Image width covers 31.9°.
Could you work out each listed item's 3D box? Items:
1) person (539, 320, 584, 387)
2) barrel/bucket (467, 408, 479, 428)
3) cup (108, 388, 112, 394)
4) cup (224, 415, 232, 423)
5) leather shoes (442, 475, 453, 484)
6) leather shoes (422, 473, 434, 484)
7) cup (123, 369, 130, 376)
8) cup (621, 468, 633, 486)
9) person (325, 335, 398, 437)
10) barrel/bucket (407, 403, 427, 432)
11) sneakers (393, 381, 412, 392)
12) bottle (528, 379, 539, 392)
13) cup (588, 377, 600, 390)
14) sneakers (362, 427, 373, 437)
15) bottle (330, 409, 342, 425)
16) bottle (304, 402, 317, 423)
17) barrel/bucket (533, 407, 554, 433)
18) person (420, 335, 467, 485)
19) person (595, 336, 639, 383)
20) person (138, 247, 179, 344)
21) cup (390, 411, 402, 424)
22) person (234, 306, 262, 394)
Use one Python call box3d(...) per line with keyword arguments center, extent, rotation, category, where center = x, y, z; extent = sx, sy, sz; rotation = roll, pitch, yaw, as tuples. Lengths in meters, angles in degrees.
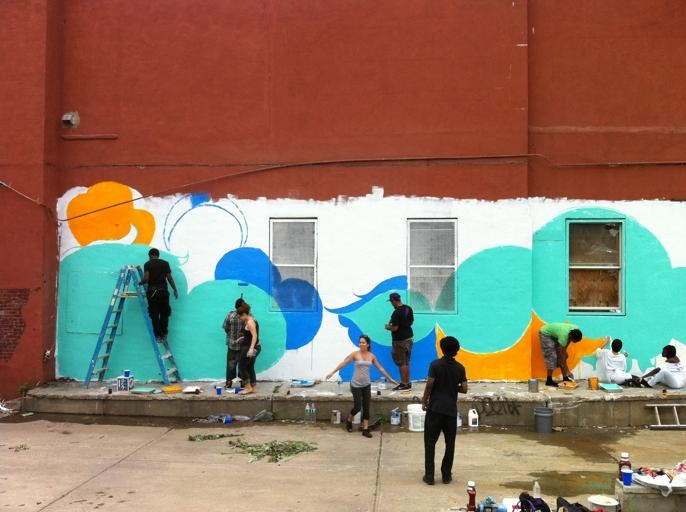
box3d(center=(4.695, 2.095, 25.690), extent=(0.915, 1.380, 0.504), rotation=(-7, -12, 38), category="person")
box3d(center=(2.694, 3.340, 24.759), extent=(0.333, 0.504, 0.308), rotation=(-1, 2, 0), category="barrel/bucket")
box3d(center=(-4.963, 2.860, 25.463), extent=(0.124, 0.109, 0.063), rotation=(-1, -4, 6), category="cup")
box3d(center=(-2.390, 3.388, 24.896), extent=(0.188, 0.111, 0.117), rotation=(-4, -10, -27), category="cup")
box3d(center=(1.927, 4.140, 22.264), extent=(0.145, 0.147, 0.362), rotation=(0, -4, 15), category="leather shoes")
box3d(center=(1.592, 4.139, 22.269), extent=(0.225, 0.183, 0.126), rotation=(-1, -9, 4), category="leather shoes")
box3d(center=(-4.673, 2.525, 25.883), extent=(0.122, 0.107, 0.117), rotation=(-1, -7, 0), category="cup")
box3d(center=(5.064, 3.928, 21.317), extent=(0.254, 0.233, 0.244), rotation=(2, -3, 0), category="cup")
box3d(center=(0.345, 2.697, 24.772), extent=(0.944, 2.068, 1.199), rotation=(1, -9, -6), category="person")
box3d(center=(1.503, 3.298, 24.562), extent=(0.595, 0.529, 0.571), rotation=(0, -7, 0), category="barrel/bucket")
box3d(center=(1.258, 2.764, 25.407), extent=(0.398, 0.155, 0.141), rotation=(0, -7, -3), category="sneakers")
box3d(center=(4.021, 2.735, 25.300), extent=(0.232, 0.295, 0.226), rotation=(-1, -4, 0), category="bottle")
box3d(center=(5.306, 2.695, 25.512), extent=(0.260, 0.344, 0.230), rotation=(2, -7, -8), category="cup")
box3d(center=(0.493, 3.574, 24.303), extent=(0.206, 0.191, 0.346), rotation=(0, -9, 1), category="sneakers")
box3d(center=(-0.148, 3.340, 24.948), extent=(0.265, 0.286, 0.258), rotation=(0, -2, -2), category="bottle")
box3d(center=(-0.683, 3.238, 25.013), extent=(0.268, 0.403, 0.103), rotation=(1, -9, -4), category="bottle")
box3d(center=(4.085, 3.344, 24.430), extent=(0.466, 0.419, 0.455), rotation=(-1, -1, 0), category="barrel/bucket")
box3d(center=(1.903, 2.877, 22.448), extent=(0.819, 2.732, 0.567), rotation=(-1, -9, 5), category="person")
box3d(center=(5.905, 2.257, 25.828), extent=(0.883, 1.015, 0.475), rotation=(-2, -9, 11), category="person")
box3d(center=(-3.954, 0.849, 25.986), extent=(0.486, 2.037, 0.818), rotation=(-6, -11, 32), category="person")
box3d(center=(1.093, 3.341, 24.827), extent=(0.263, 0.267, 0.256), rotation=(0, -3, 0), category="cup")
box3d(center=(-2.031, 1.932, 25.606), extent=(0.502, 1.989, 0.800), rotation=(1, -9, -4), category="person")
